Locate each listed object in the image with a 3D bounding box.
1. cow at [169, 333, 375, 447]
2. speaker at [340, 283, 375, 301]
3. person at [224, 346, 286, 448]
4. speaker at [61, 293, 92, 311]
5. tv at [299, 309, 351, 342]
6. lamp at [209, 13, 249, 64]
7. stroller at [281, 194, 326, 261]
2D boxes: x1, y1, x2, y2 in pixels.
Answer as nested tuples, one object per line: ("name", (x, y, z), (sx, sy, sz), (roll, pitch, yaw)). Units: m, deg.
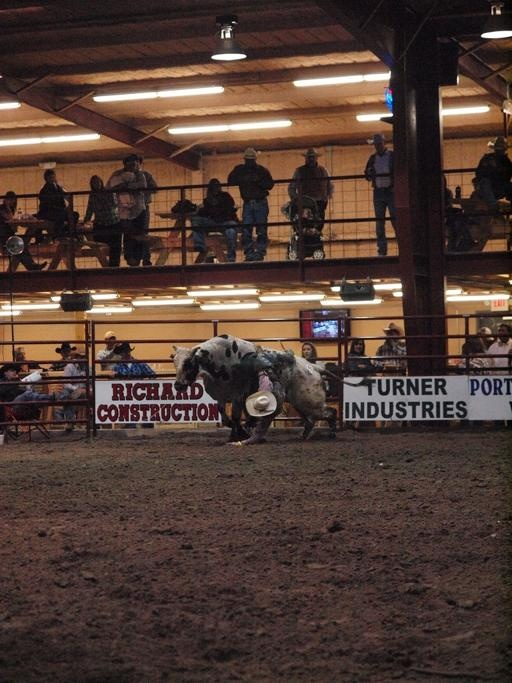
("cow", (0.050, 0.708, 13.384), (2.467, 1.615, 1.768), (0, 7, 17))
("speaker", (1.796, -0.897, 15.753), (0.562, 0.311, 0.349), (1, 5, 3))
("person", (0.029, 0.805, 13.005), (0.840, 1.439, 0.889), (4, 6, 36))
("speaker", (-3.471, -0.764, 17.117), (0.602, 0.367, 0.627), (0, 5, -6))
("tv", (1.588, -0.348, 20.050), (0.943, 0.565, 0.122), (0, -5, 2))
("lamp", (-0.407, -4.657, 13.463), (0.465, 0.818, 0.979), (0, 5, -1))
("stroller", (0.906, -2.046, 16.211), (0.765, 1.151, 1.171), (-1, 4, -7))
